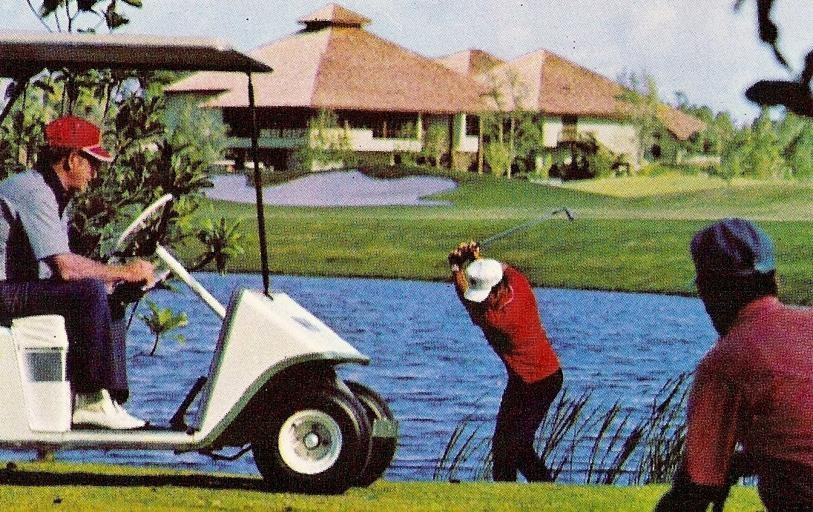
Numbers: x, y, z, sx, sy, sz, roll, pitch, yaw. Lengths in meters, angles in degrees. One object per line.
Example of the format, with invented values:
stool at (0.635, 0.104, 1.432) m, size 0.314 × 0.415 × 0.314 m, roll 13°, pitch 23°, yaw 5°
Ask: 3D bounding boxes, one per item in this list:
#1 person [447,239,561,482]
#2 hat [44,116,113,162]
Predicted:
person at (0.722, 0.850, 15.850) m, size 0.685 × 1.744 × 0.810 m, roll 1°, pitch -2°, yaw 23°
hat at (-2.408, -0.856, 15.158) m, size 0.403 × 0.246 × 0.314 m, roll 9°, pitch 10°, yaw -18°
